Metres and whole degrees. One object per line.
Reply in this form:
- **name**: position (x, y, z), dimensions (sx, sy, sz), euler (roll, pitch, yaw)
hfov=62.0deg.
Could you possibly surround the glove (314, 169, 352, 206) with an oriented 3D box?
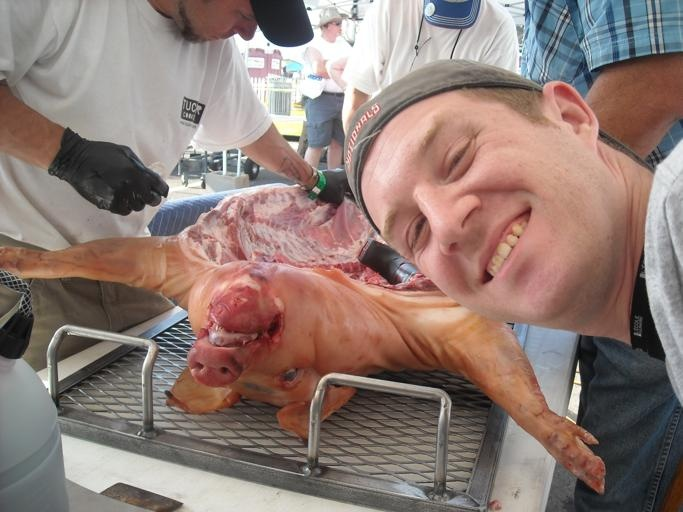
- **glove**: position (-0.029, -0.306, 2.568), dimensions (0.153, 0.162, 0.063), euler (0, -22, -2)

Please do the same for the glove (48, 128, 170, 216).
- **glove**: position (-0.744, -0.269, 1.832), dimensions (0.343, 0.252, 0.120), euler (24, -37, -13)

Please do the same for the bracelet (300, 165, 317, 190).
- **bracelet**: position (-0.150, -0.351, 2.533), dimensions (0.084, 0.079, 0.113), euler (1, 25, 2)

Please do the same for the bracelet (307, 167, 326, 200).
- **bracelet**: position (-0.105, -0.318, 2.486), dimensions (0.045, 0.117, 0.096), euler (11, -23, -32)
